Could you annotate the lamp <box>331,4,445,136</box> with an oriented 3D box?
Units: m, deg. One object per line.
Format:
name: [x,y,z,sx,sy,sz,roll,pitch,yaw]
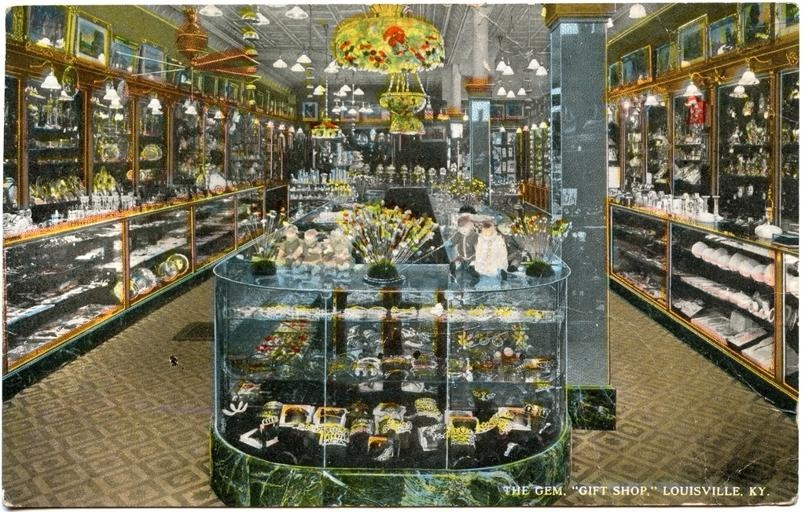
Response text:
lamp: [-0.099,-1.326,3.694,0.800,0.803,0.762,-2,3,-12]

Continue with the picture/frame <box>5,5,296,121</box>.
picture/frame: [-2.241,-1.768,4.775,2.082,0.922,1.291,-1,9,3]

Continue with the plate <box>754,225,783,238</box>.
plate: [3.277,-0.219,4.577,0.141,0.068,0.135,0,3,3]

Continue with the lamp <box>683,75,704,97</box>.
lamp: [2.821,-1.651,5.005,0.177,0.171,0.172,1,6,43]

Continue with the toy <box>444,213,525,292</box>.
toy: [0.627,-0.034,3.976,0.515,0.573,0.275,0,1,12]

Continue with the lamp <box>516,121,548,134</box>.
lamp: [1.154,-1.137,4.518,0.075,0.045,0.214,-7,7,-39]

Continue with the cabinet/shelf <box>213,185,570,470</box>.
cabinet/shelf: [-0.047,0.359,4.451,2.171,0.974,2.086,0,8,2]

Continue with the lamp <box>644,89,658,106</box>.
lamp: [2.421,-1.541,4.965,0.149,0.149,0.149,7,23,28]

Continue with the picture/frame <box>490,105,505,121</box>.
picture/frame: [0.849,-1.298,4.603,0.143,0.124,0.074,-1,3,-1]

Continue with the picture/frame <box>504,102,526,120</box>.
picture/frame: [1.020,-1.324,4.613,0.179,0.149,0.063,0,9,9]
